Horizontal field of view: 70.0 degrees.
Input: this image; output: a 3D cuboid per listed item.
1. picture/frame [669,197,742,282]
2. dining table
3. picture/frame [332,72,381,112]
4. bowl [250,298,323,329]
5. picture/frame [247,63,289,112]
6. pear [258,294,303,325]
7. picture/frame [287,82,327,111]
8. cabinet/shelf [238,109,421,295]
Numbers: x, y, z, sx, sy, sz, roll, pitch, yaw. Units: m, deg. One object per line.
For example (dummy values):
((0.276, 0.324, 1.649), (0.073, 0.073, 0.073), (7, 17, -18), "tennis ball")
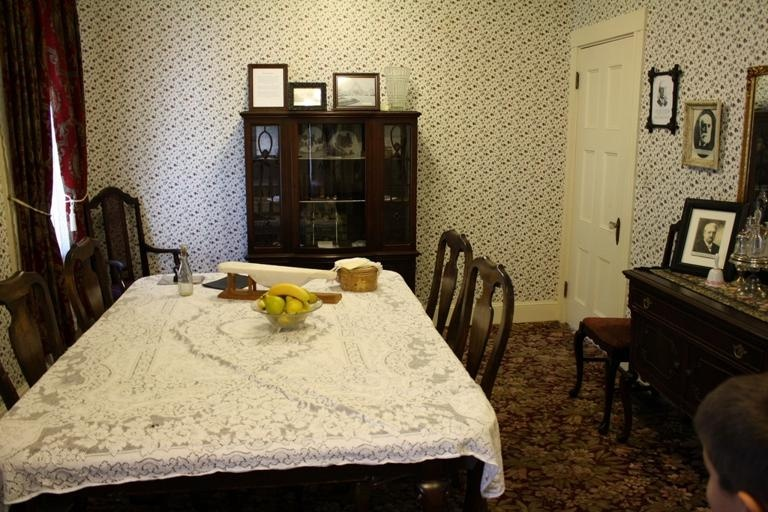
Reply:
((2.032, -0.093, 3.426), (0.067, 0.616, 0.499), (11, 0, -41), "picture/frame")
((-0.639, 0.194, 2.259), (1.211, 0.406, 1.676), (-2, 15, -3), "dining table")
((-0.256, -1.467, 4.939), (0.408, 0.310, 0.030), (0, 2, -4), "picture/frame")
((-0.491, 0.329, 2.900), (0.214, 0.078, 0.211), (0, 4, 0), "bowl")
((-1.029, -1.471, 4.822), (0.448, 0.498, 0.036), (0, 1, -8), "picture/frame")
((-0.547, 0.273, 2.882), (0.184, 0.108, 0.182), (1, 9, -30), "pear")
((-0.706, -1.415, 4.893), (0.302, 0.215, 0.023), (0, 9, -5), "picture/frame")
((-0.481, -0.501, 4.634), (1.619, 1.759, 0.523), (-1, 5, -4), "cabinet/shelf")
